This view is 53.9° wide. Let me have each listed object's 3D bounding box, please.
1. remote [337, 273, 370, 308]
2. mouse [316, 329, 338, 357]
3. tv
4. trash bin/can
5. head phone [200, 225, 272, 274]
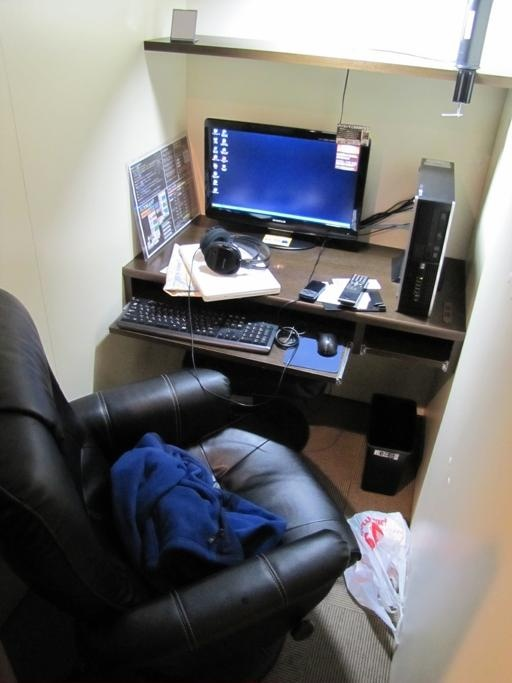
[{"bbox_3d":[0.293,-0.171,1.531,0.053,0.034,0.165,13,40,17],"label":"remote"},{"bbox_3d":[0.213,0.001,1.471,0.041,0.025,0.074,-3,38,3],"label":"mouse"},{"bbox_3d":[0.118,-0.552,1.721,0.482,0.375,0.142,10,45,9],"label":"tv"},{"bbox_3d":[0.479,0.434,1.809,0.153,0.211,0.121,11,25,8],"label":"trash bin/can"},{"bbox_3d":[-0.063,-0.267,1.651,0.189,0.092,0.179,1,45,-29],"label":"head phone"}]
